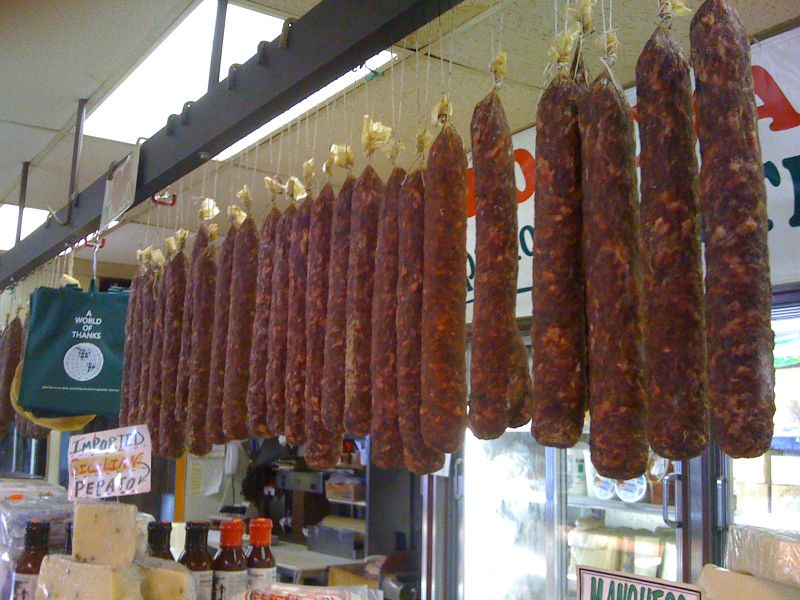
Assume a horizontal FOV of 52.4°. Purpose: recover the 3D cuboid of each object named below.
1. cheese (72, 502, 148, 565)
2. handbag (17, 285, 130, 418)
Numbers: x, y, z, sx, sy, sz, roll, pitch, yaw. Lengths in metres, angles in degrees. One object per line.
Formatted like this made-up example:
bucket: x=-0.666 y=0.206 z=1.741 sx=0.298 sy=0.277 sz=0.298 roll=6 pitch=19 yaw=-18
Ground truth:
cheese: x=-1.037 y=0.815 z=2.889 sx=0.182 sy=0.240 sz=0.266 roll=5 pitch=-10 yaw=-41
handbag: x=-1.653 y=0.247 z=4.126 sx=0.474 sy=0.680 sz=0.243 roll=3 pitch=-12 yaw=-18
